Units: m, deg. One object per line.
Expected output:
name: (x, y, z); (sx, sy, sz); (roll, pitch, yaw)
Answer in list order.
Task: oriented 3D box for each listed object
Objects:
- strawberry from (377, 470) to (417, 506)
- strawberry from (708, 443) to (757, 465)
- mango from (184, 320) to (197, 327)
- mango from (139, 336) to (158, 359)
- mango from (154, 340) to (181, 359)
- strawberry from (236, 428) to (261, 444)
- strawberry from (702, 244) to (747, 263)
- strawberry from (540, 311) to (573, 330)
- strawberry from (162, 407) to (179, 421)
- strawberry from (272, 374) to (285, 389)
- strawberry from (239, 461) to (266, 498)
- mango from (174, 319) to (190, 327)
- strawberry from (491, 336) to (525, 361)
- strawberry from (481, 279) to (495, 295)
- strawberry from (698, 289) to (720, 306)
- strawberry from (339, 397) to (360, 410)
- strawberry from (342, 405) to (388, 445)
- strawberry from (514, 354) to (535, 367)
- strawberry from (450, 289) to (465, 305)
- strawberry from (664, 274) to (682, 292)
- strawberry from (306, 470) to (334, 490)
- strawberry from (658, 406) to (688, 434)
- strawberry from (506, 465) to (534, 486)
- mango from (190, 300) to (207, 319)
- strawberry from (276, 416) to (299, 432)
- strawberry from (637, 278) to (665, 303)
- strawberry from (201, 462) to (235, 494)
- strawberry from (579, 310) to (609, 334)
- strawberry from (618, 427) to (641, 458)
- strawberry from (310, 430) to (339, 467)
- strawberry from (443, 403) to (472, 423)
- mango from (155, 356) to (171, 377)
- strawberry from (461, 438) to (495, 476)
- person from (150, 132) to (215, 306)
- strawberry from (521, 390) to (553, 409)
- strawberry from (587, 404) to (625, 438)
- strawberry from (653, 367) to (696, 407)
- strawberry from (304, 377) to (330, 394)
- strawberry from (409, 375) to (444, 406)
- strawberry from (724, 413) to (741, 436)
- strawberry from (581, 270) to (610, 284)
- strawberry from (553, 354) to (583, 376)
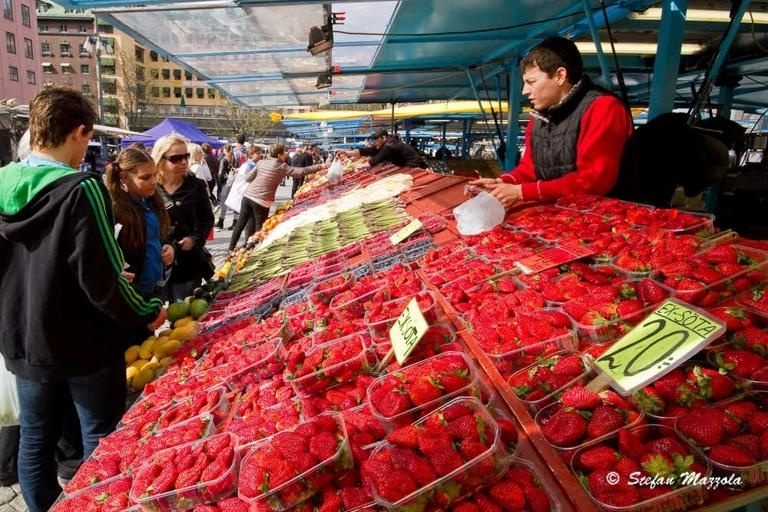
strawberry: (0.049, 0.843, 1.616); (0.143, 0.080, 0.070); (-2, 23, 7)
strawberry: (1.193, 0.687, 1.515); (0.097, 0.054, 0.063); (8, -9, 27)
mango: (-1.671, 0.582, 3.816); (0.082, 0.040, 0.076); (-3, 2, -9)
mango: (-1.891, 0.725, 3.576); (0.103, 0.097, 0.195); (18, 32, -11)
mango: (-1.670, 0.724, 3.398); (0.149, 0.071, 0.075); (-21, 64, -14)
strawberry: (-0.619, 0.815, 2.009); (0.091, 0.034, 0.119); (-13, 23, -20)
strawberry: (1.555, -0.009, 2.019); (0.125, 0.061, 0.076); (-2, 22, 38)
strawberry: (0.797, 0.295, 2.031); (0.110, 0.064, 0.062); (18, 41, 21)
strawberry: (-1.172, 0.868, 2.423); (0.059, 0.014, 0.057); (-14, 8, 43)
strawberry: (-0.553, 0.657, 2.302); (0.042, 0.047, 0.066); (-3, 20, -38)
strawberry: (-0.544, 0.908, 1.797); (0.070, 0.119, 0.126); (24, 10, -36)
mango: (-1.782, 0.587, 3.880); (0.146, 0.068, 0.066); (-13, -5, -31)
strawberry: (0.559, 0.419, 2.026); (0.157, 0.088, 0.097); (-24, 22, -14)
strawberry: (0.574, 0.171, 2.475); (0.070, 0.070, 0.091); (34, 76, 26)
strawberry: (1.418, 0.175, 1.945); (0.080, 0.041, 0.059); (-27, 7, -7)
strawberry: (-0.159, 0.667, 2.000); (0.076, 0.042, 0.053); (-4, -18, 5)
strawberry: (-0.093, 0.718, 1.851); (0.149, 0.056, 0.142); (-31, 55, -16)
strawberry: (0.632, 0.465, 1.968); (0.085, 0.050, 0.033); (-1, 23, 11)
strawberry: (0.416, 0.228, 2.468); (0.094, 0.045, 0.069); (-14, 24, -22)
strawberry: (1.327, 0.120, 2.034); (0.065, 0.071, 0.063); (-25, 16, -28)
strawberry: (-0.255, 0.876, 1.744); (0.087, 0.067, 0.042); (-16, 55, -3)
strawberry: (1.072, 0.606, 1.641); (0.083, 0.054, 0.077); (-10, 15, -5)
strawberry: (0.502, 0.806, 1.624); (0.061, 0.051, 0.037); (0, 54, 55)
mango: (-1.663, 0.487, 3.990); (0.192, 0.162, 0.177); (3, -12, -23)
strawberry: (-0.433, 0.742, 1.966); (0.092, 0.047, 0.068); (-22, 33, -10)
strawberry: (1.200, 0.164, 2.007); (0.060, 0.098, 0.100); (-36, 44, 6)
strawberry: (-0.693, 0.951, 1.883); (0.090, 0.062, 0.117); (-28, 8, 34)
strawberry: (0.940, 0.291, 2.024); (0.114, 0.097, 0.087); (-1, 56, -18)
strawberry: (0.886, 0.673, 1.606); (0.070, 0.028, 0.097); (12, 38, -4)
strawberry: (-0.245, 0.775, 1.792); (0.121, 0.058, 0.107); (-9, 22, -10)
strawberry: (0.291, 0.615, 1.725); (0.084, 0.046, 0.061); (-11, -18, 9)
mango: (-1.603, 0.805, 3.193); (0.091, 0.052, 0.167); (-30, 26, 18)
strawberry: (0.335, 0.724, 1.626); (0.095, 0.072, 0.123); (-35, 43, -25)
person: (-2.106, -0.386, 4.694); (0.705, 1.756, 0.754); (2, 19, 3)
strawberry: (0.628, 0.592, 1.798); (0.131, 0.064, 0.049); (0, 23, 12)
strawberry: (0.829, 0.626, 1.654); (0.136, 0.088, 0.083); (-13, 23, -18)
strawberry: (1.117, 0.534, 1.732); (0.122, 0.111, 0.141); (-33, 45, 9)
strawberry: (-0.325, 0.631, 2.187); (0.125, 0.052, 0.056); (-17, 25, -3)
strawberry: (0.171, 0.568, 1.828); (0.112, 0.078, 0.096); (-19, 26, -30)
strawberry: (1.239, 0.605, 1.574); (0.033, 0.053, 0.055); (13, 24, -51)
strawberry: (1.092, 0.108, 2.251); (0.116, 0.037, 0.115); (-16, 24, -25)
strawberry: (0.760, 0.452, 1.831); (0.126, 0.057, 0.079); (1, 23, 14)
